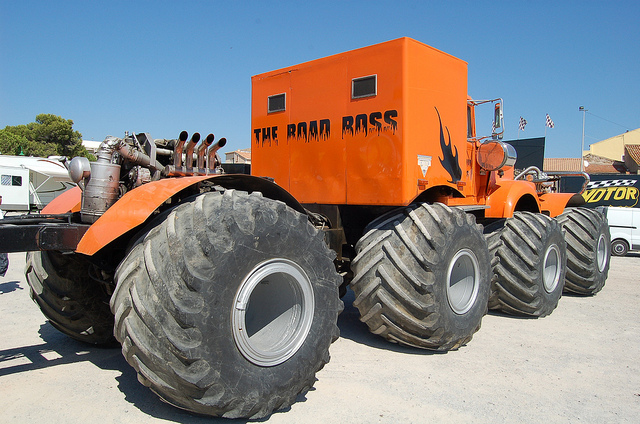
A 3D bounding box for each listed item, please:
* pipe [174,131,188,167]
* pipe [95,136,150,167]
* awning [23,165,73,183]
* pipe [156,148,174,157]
[{"bbox_3d":[-1.588,-0.704,4.488,0.124,0.396,0.270,-2,7,-29],"label":"pipe"},{"bbox_3d":[-2.072,-0.622,4.163,0.506,0.300,0.137,-5,8,-40],"label":"pipe"},{"bbox_3d":[-12.261,-1.649,17.515,1.092,0.474,1.760,20,2,21],"label":"awning"},{"bbox_3d":[-1.808,-0.683,4.602,0.188,0.090,0.176,-2,7,-24],"label":"pipe"}]
